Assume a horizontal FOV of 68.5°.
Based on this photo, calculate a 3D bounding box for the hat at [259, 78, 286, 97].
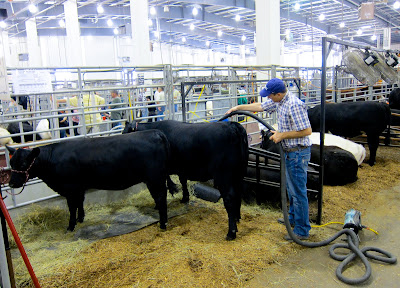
[{"bbox_3d":[0.969,-0.759,4.011,0.336,0.220,0.189,-15,-36,14],"label":"hat"}]

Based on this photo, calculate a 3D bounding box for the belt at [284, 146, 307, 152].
[{"bbox_3d":[1.301,0.055,4.003,0.296,0.097,0.092,-1,10,17],"label":"belt"}]

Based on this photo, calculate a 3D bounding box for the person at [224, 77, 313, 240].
[{"bbox_3d":[1.087,0.195,4.488,0.859,2.326,1.542,-13,18,-30],"label":"person"}]
